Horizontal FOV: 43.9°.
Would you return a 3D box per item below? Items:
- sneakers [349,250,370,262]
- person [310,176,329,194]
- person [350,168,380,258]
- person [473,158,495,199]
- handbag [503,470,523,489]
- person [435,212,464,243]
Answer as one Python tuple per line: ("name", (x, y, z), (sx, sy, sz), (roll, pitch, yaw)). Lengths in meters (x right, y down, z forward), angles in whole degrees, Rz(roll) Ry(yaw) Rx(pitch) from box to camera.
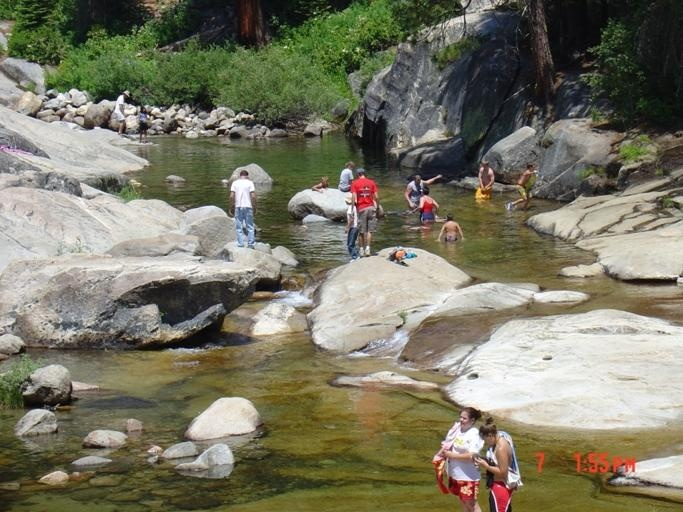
("sneakers", (0.453, 0.010, 21.245), (0.624, 0.242, 0.196), (-9, 12, -1))
("person", (-0.761, -2.350, 28.476), (0.490, 0.473, 1.015), (-6, 5, -40))
("person", (0.571, -1.064, 21.160), (0.806, 2.053, 0.734), (-1, 7, -6))
("person", (5.104, -2.743, 30.526), (0.631, 1.277, 1.772), (-1, 12, 10))
("handbag", (2.218, 2.911, 11.054), (0.193, 0.133, 0.323), (-2, -13, -1))
("person", (3.125, -0.772, 24.609), (1.017, 1.296, 0.437), (-2, 31, 6))
